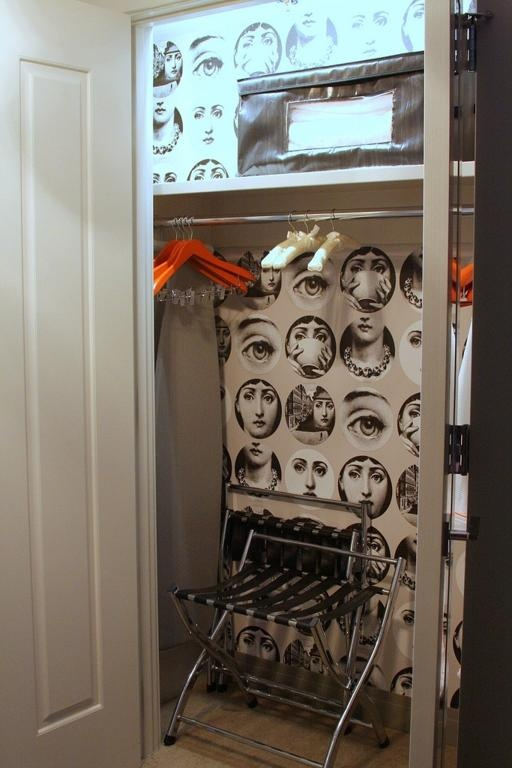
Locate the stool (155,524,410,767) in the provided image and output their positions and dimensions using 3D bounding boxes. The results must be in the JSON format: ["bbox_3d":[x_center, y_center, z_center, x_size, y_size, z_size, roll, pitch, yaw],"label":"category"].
[{"bbox_3d":[0.125,0.694,2.450,0.788,0.906,0.655,4,8,31],"label":"stool"}]

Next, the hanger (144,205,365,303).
[{"bbox_3d":[-0.007,-0.417,2.469,0.684,0.295,0.659,2,1,8],"label":"hanger"}]

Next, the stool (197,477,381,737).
[{"bbox_3d":[0.124,0.751,2.512,0.737,0.810,0.534,3,2,30],"label":"stool"}]
